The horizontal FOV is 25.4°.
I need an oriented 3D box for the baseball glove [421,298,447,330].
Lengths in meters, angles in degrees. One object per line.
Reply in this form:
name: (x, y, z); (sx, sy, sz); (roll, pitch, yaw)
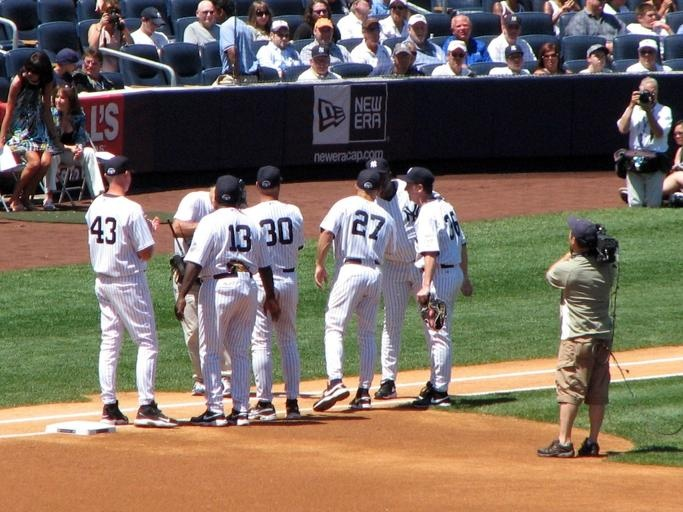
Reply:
baseball glove: (1.052, 0.648, 17.497); (0.277, 0.351, 0.344); (-4, -1, 3)

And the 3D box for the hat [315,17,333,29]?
hat: (-0.300, -4.077, 26.139); (0.304, 0.162, 0.461); (1, 2, -6)

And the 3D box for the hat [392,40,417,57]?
hat: (1.095, -3.693, 26.383); (0.343, 0.281, 0.629); (0, 5, 10)

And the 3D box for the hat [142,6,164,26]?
hat: (-3.245, -4.208, 26.198); (0.363, 0.326, 0.548); (-2, 5, -8)

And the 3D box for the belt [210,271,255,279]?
belt: (-1.168, 0.198, 16.522); (0.426, 0.077, 0.074); (-2, 5, -18)

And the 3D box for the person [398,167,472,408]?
person: (1.100, 0.345, 17.681); (0.585, 2.804, 0.816); (1, 5, 20)

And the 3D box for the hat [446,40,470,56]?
hat: (2.068, -3.707, 26.598); (0.354, 0.148, 0.499); (2, 5, -3)

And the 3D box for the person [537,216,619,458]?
person: (2.547, 0.873, 16.079); (0.736, 2.550, 0.358); (0, 5, 6)

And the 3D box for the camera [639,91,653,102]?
camera: (4.756, -2.525, 23.616); (0.168, 0.164, 0.169); (1, -4, 1)

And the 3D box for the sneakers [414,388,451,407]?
sneakers: (1.055, 1.655, 17.692); (0.338, 0.148, 0.204); (1, -1, -5)

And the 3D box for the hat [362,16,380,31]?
hat: (0.521, -4.096, 26.365); (0.295, 0.242, 0.418); (-1, 5, 0)

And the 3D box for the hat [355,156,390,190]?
hat: (0.381, -1.001, 17.594); (0.475, 0.337, 0.758); (10, 17, -1)

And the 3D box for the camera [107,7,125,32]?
camera: (-3.739, -4.006, 25.200); (0.239, 0.312, 0.144); (-21, 16, -30)

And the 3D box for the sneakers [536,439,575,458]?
sneakers: (2.299, 2.058, 16.162); (0.451, 0.215, 0.162); (2, 3, -1)

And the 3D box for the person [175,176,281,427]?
person: (-1.255, 0.664, 16.620); (1.056, 2.416, 0.382); (-1, 5, -2)

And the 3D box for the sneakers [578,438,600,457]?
sneakers: (2.651, 2.059, 16.246); (0.125, 0.128, 0.302); (-1, 2, -2)

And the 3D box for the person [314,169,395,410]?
person: (0.172, 0.392, 17.327); (0.854, 2.790, 0.567); (-1, 5, -5)

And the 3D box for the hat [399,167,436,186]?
hat: (0.913, -0.959, 17.593); (0.285, 0.151, 0.197); (6, 16, 12)

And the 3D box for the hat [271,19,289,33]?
hat: (-1.046, -3.986, 25.903); (0.272, 0.193, 0.344); (-1, 5, -5)

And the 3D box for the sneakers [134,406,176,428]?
sneakers: (-2.029, 1.758, 16.535); (0.561, 0.268, 0.187); (1, 2, -3)

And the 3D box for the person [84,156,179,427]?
person: (-2.334, 0.385, 16.530); (0.816, 2.966, 0.362); (-1, 5, -2)

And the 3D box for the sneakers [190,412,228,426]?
sneakers: (-1.448, 1.787, 16.796); (0.410, 0.182, 0.158); (3, -1, 14)

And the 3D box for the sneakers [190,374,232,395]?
sneakers: (-1.554, 1.562, 18.173); (0.395, 0.139, 0.260); (-5, 8, -12)

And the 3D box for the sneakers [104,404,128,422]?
sneakers: (-2.494, 1.734, 16.720); (0.128, 0.225, 0.365); (5, 8, 30)

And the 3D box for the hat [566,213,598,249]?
hat: (2.538, -0.276, 16.053); (0.234, 0.183, 0.354); (-15, 53, -23)

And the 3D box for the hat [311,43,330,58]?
hat: (-0.343, -3.507, 25.606); (0.295, 0.235, 0.312); (-1, 5, -2)
